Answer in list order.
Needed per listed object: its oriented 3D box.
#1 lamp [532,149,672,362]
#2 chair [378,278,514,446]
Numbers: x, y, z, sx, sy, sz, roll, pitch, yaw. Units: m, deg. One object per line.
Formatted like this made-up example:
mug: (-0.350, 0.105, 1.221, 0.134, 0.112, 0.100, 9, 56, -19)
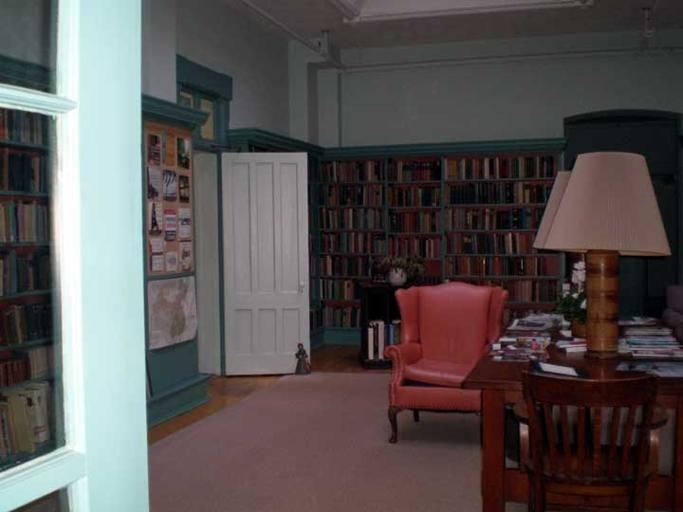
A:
lamp: (1.228, 0.003, 2.687, 0.502, 0.946, 0.496, 0, 2, 20)
chair: (0.772, 0.727, 4.139, 0.777, 1.080, 0.740, -1, -4, 21)
